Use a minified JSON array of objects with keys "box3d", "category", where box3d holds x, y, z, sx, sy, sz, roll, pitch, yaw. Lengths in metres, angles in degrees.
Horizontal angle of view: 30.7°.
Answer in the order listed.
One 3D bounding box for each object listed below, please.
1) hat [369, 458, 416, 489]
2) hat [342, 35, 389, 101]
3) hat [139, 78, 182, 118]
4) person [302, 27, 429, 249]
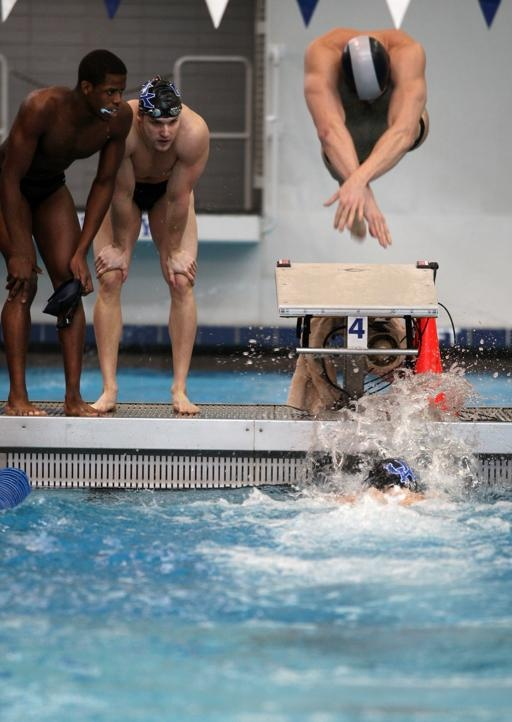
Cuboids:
[{"box3d":[0.384,0.322,2.668,0.108,0.091,0.079,27,1,-24],"category":"hat"},{"box3d":[0.372,-0.931,3.030,0.141,0.204,0.168,0,-11,9],"category":"hat"},{"box3d":[-0.283,-0.770,2.758,0.105,0.119,0.136,0,11,-10],"category":"hat"},{"box3d":[0.361,-0.765,3.061,0.373,0.594,0.858,-1,39,11],"category":"person"}]
